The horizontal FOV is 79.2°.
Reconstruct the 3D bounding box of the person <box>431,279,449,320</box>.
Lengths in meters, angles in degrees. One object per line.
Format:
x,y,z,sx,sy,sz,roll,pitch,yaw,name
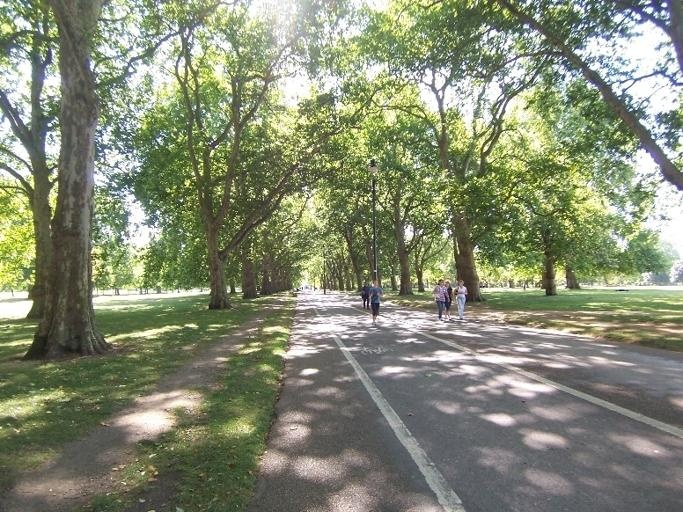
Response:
5.071,2.213,20.862,0.602,2.106,1.222,2,6,26,person
